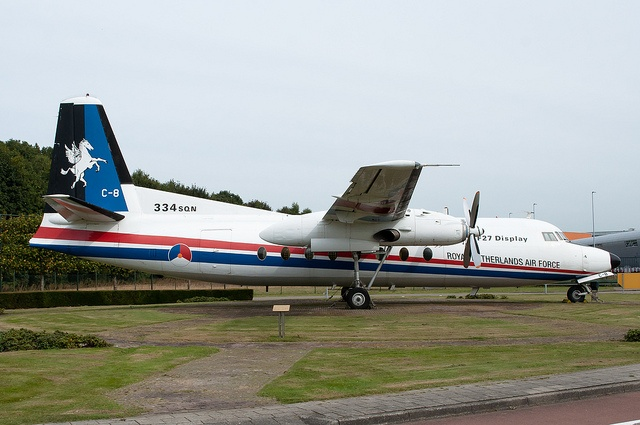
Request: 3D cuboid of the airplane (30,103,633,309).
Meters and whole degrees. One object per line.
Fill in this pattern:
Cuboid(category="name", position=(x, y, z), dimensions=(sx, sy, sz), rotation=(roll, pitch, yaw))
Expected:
Cuboid(category="airplane", position=(-1.069, 0.941, 24.372), dimensions=(16.546, 3.607, 12.470), rotation=(0, 0, -8))
